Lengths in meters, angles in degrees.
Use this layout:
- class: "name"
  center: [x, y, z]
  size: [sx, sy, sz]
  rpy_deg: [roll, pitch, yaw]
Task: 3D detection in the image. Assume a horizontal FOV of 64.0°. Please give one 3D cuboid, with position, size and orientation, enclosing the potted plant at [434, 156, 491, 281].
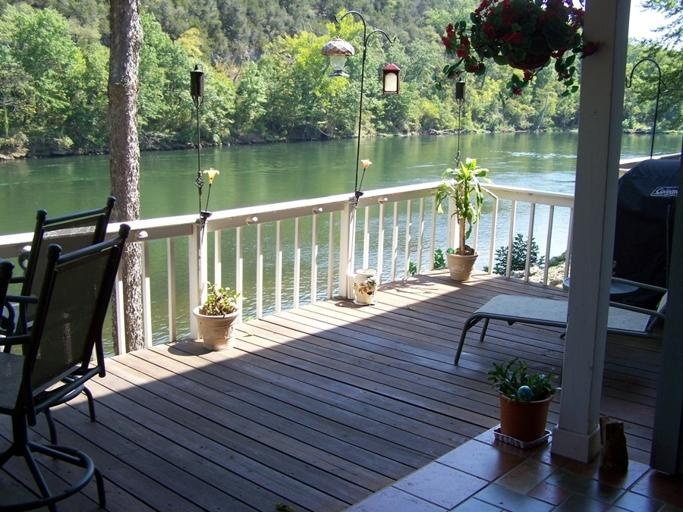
- class: "potted plant"
  center: [1.334, -0.503, 6.064]
  size: [0.554, 1.327, 0.998]
  rpy_deg: [3, 12, 15]

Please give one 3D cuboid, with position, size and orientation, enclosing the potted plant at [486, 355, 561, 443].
- class: "potted plant"
  center: [0.951, 0.755, 2.888]
  size: [0.261, 0.411, 0.264]
  rpy_deg: [-10, 15, -41]

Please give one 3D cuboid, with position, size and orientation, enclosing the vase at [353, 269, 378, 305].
- class: "vase"
  center: [0.214, 0.252, 5.049]
  size: [0.288, 0.334, 0.291]
  rpy_deg: [-2, 5, -24]

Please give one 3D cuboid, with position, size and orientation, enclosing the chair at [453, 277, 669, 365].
- class: "chair"
  center: [1.496, 0.383, 3.828]
  size: [1.354, 0.595, 0.708]
  rpy_deg: [3, 10, 21]

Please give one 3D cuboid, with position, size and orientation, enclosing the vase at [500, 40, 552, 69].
- class: "vase"
  center: [0.810, -0.926, 2.395]
  size: [0.126, 0.080, 0.121]
  rpy_deg: [9, 16, 35]
